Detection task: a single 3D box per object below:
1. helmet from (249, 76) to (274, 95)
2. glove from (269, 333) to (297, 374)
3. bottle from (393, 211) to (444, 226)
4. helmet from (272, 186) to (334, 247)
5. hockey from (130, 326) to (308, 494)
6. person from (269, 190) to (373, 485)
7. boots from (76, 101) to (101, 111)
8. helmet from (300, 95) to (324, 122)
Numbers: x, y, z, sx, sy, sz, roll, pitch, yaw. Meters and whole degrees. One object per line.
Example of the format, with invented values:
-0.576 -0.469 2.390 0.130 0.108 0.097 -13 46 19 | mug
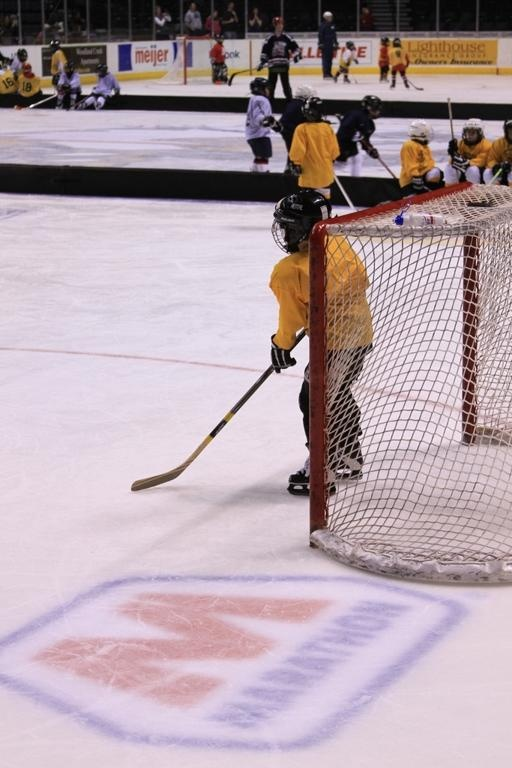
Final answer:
0.072 -3.029 9.445 0.274 0.223 0.186 -24 40 -32 | helmet
0.073 -0.085 2.787 0.090 0.098 0.036 7 9 -5 | glove
0.451 -0.457 2.540 0.135 0.050 0.183 2 9 10 | bottle
0.134 -0.483 2.742 0.164 0.185 0.137 3 10 17 | helmet
-0.146 0.114 3.621 0.866 0.120 0.104 -48 16 -26 | hockey
0.186 -0.100 2.749 0.317 0.941 0.544 1 10 7 | person
-3.150 -5.304 17.533 0.344 0.293 0.144 -1 -35 21 | boots
0.434 -2.153 7.281 0.198 0.188 0.194 3 2 -17 | helmet
